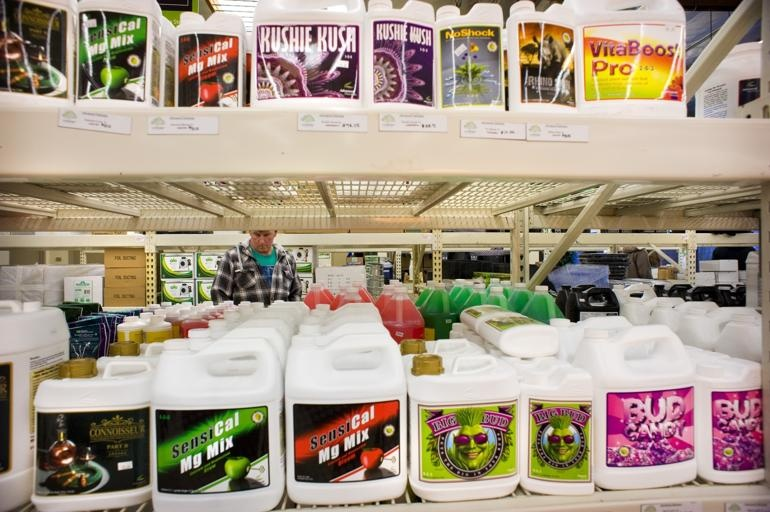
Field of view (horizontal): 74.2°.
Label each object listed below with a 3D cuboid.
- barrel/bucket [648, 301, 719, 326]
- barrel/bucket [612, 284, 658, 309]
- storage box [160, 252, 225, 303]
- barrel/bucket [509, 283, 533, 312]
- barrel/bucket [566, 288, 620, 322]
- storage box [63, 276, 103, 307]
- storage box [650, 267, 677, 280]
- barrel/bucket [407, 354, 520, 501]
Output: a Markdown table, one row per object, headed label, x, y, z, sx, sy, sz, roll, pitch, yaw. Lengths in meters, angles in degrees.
| label | x | y | z | sx | sy | sz | roll | pitch | yaw |
| --- | --- | --- | --- | --- | --- | --- | --- | --- | --- |
| barrel/bucket | 1.095 | 0.202 | 1.848 | 0.225 | 0.082 | 0.136 | -1 | 1 | -5 |
| barrel/bucket | 1.017 | 0.166 | 2.060 | 0.148 | 0.143 | 0.080 | -3 | 2 | -5 |
| storage box | -1.465 | 0.166 | 3.778 | 0.400 | 0.341 | 0.218 | 1 | 3 | -1 |
| barrel/bucket | 0.566 | 0.176 | 2.154 | 0.107 | 0.184 | 0.103 | 4 | -10 | 1 |
| barrel/bucket | 0.818 | 0.186 | 1.999 | 0.202 | 0.183 | 0.137 | 0 | -4 | -8 |
| storage box | -1.889 | 0.218 | 3.122 | 0.209 | 0.192 | 0.201 | 0 | 0 | -1 |
| storage box | 2.175 | 0.136 | 3.938 | 0.085 | 0.093 | 0.153 | -4 | 6 | -29 |
| barrel/bucket | 0.180 | 0.485 | 1.515 | 0.334 | 0.393 | 0.377 | -1 | -5 | -3 |
